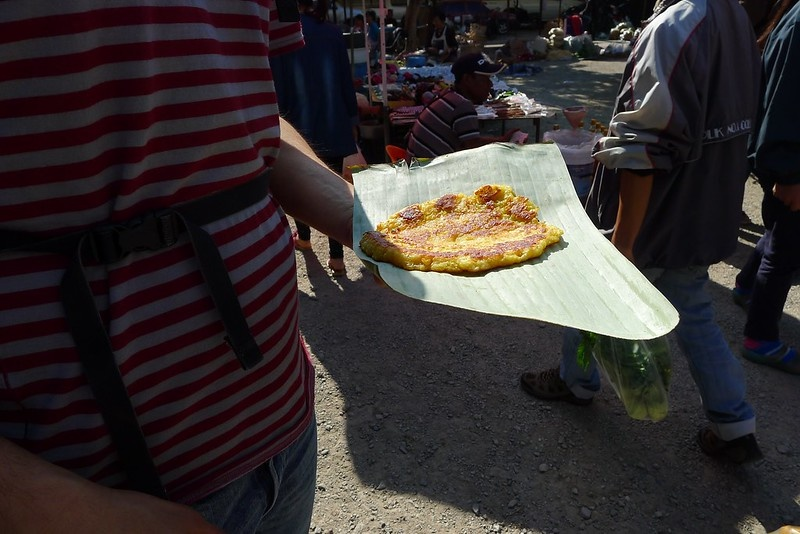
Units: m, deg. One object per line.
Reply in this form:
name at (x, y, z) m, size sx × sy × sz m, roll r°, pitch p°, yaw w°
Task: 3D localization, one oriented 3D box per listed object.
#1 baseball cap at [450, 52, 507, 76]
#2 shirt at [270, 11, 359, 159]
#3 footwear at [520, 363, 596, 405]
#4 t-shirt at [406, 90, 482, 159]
baseball cap at (0.765, -1.979, 5.723) m, size 0.387 × 0.161 × 0.255 m, roll -6°, pitch 31°, yaw 9°
shirt at (-0.746, -1.579, 5.116) m, size 0.716 × 1.180 × 0.423 m, roll -10°, pitch 13°, yaw -7°
footwear at (0.954, 0.752, 3.709) m, size 0.417 × 0.212 × 0.172 m, roll 14°, pitch -12°, yaw -30°
t-shirt at (0.433, -1.185, 5.172) m, size 0.457 × 0.618 × 0.815 m, roll 3°, pitch 6°, yaw -39°
